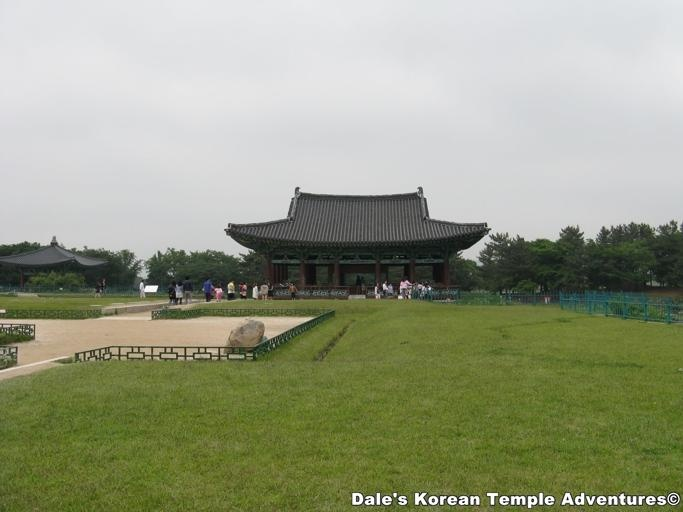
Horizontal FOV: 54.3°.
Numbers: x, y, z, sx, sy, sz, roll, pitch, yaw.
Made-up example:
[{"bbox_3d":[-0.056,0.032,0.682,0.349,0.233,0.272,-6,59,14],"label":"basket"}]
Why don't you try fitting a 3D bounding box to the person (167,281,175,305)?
[{"bbox_3d":[-6.595,1.440,26.165,0.223,0.821,1.086,2,-4,-13],"label":"person"}]
